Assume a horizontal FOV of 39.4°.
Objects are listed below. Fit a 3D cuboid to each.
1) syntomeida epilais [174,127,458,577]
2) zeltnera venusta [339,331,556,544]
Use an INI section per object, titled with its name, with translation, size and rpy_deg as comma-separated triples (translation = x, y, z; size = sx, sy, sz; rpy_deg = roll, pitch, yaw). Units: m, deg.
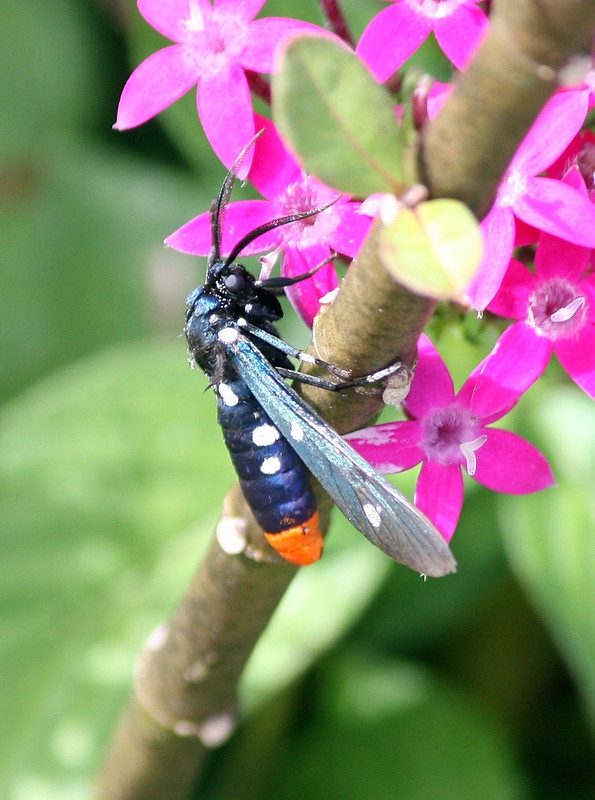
[syntomeida epilais]
translation = 0.009, -0.024, 0.607
size = 0.251, 0.305, 0.206
rpy_deg = 9, 32, 16
[zeltnera venusta]
translation = 0.111, 0.009, 0.601
size = 0.187, 0.141, 0.042
rpy_deg = -6, 13, -5
